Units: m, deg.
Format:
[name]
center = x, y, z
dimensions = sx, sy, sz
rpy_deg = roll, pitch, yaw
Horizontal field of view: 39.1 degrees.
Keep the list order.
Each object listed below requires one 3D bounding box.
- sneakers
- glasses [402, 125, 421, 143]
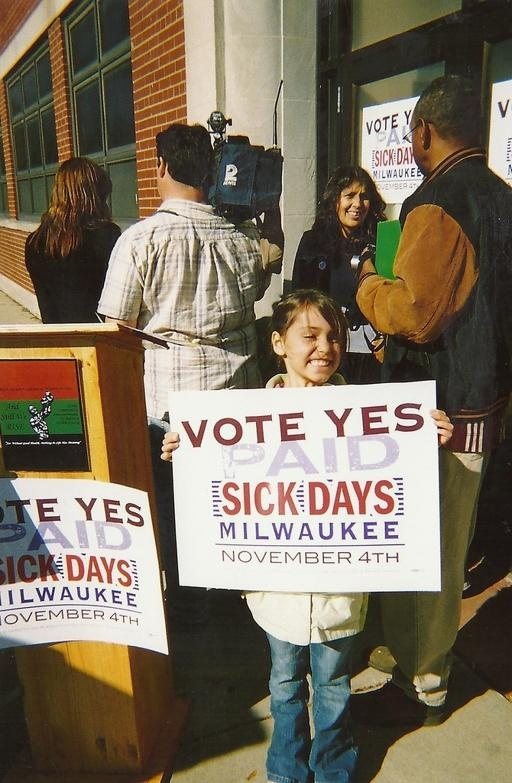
[sneakers]
center = 0.474, 1.069, 2.447
dimensions = 0.214, 0.051, 0.141
rpy_deg = -3, 0, 9
[glasses]
center = 0.525, -0.878, 2.453
dimensions = 0.076, 0.075, 0.023
rpy_deg = 1, -6, -37
